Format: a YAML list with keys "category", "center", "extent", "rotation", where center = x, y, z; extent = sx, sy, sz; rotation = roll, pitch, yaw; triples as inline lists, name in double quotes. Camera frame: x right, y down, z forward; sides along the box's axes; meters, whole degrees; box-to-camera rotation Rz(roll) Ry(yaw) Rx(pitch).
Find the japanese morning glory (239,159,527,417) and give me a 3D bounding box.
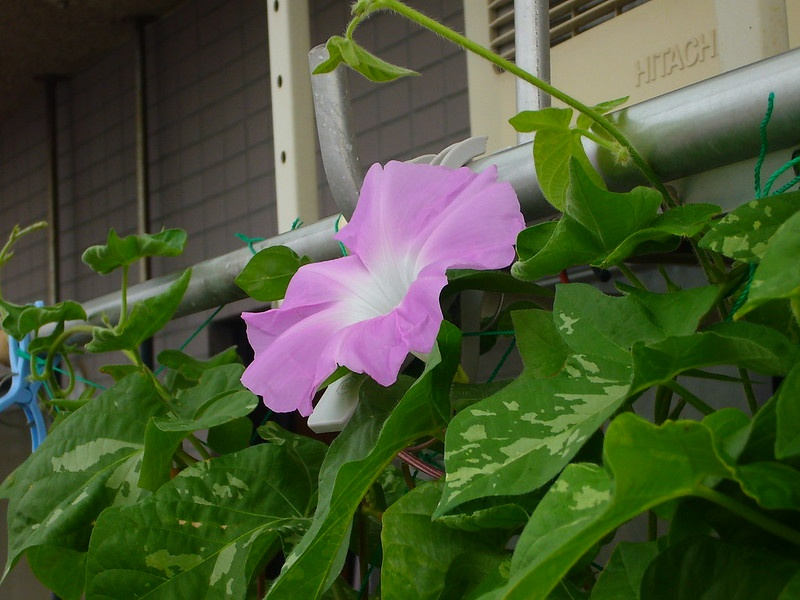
- category: "japanese morning glory"
  center: [-0.003, -0.010, 1.595]
  extent: [0.338, 0.131, 0.339]
  rotation: [-38, 25, 13]
